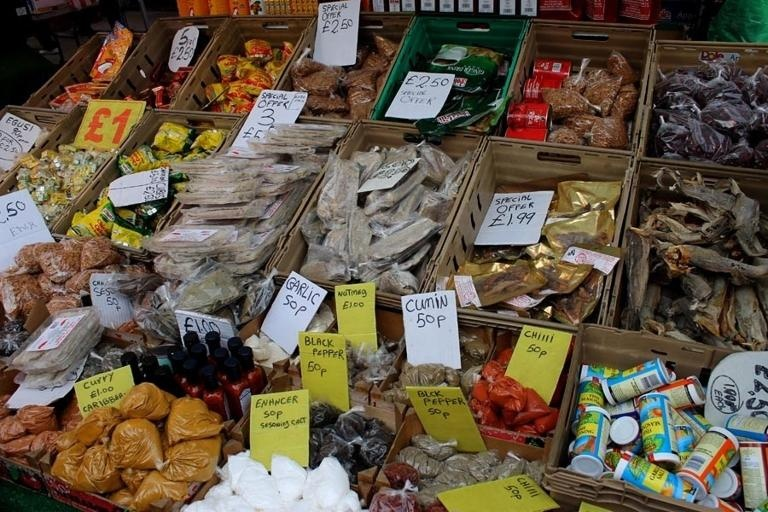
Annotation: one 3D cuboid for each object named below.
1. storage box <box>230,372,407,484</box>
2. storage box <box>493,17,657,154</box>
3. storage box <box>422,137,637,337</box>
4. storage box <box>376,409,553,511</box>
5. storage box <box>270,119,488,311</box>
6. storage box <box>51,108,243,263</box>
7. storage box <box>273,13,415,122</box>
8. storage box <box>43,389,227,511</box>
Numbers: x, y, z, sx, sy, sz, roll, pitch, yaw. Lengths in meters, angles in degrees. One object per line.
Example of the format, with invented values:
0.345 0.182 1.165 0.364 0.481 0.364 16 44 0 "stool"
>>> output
-0.269 0.819 2.288 0.540 0.174 0.528 18 54 18 "storage box"
1.609 -1.640 3.881 1.251 0.530 1.180 13 85 12 "storage box"
0.888 -0.166 3.060 1.238 0.520 1.190 8 71 20 "storage box"
0.333 0.924 2.137 0.439 0.178 0.431 10 48 24 "storage box"
-0.079 -0.268 3.518 1.112 0.449 1.453 16 67 15 "storage box"
-1.873 -0.490 4.200 1.090 0.470 1.432 20 66 22 "storage box"
-0.290 -1.667 3.890 0.957 0.414 1.209 13 66 17 "storage box"
-1.123 0.863 2.129 0.642 0.231 0.551 9 80 5 "storage box"
